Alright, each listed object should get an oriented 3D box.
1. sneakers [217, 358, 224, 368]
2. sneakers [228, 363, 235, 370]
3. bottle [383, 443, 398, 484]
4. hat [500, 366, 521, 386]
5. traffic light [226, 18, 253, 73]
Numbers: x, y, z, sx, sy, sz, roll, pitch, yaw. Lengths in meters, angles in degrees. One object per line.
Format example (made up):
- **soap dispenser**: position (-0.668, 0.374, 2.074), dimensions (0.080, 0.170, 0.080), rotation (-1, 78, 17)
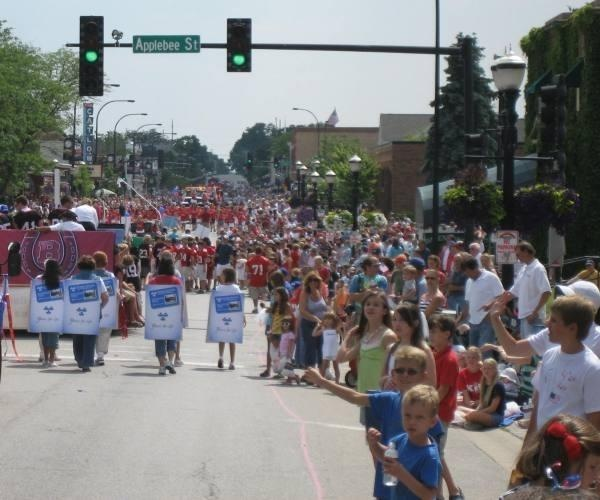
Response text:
- **sneakers**: position (-1.402, 2.029, 22.891), dimensions (0.137, 0.194, 0.100), rotation (4, 17, 6)
- **sneakers**: position (-1.185, 2.104, 22.760), dimensions (0.093, 0.159, 0.159), rotation (-3, 8, -23)
- **bottle**: position (1.003, 2.383, 14.114), dimensions (0.159, 0.539, 0.380), rotation (0, 7, 4)
- **hat**: position (3.304, 1.993, 20.212), dimensions (0.309, 0.406, 0.220), rotation (2, 5, 23)
- **traffic light**: position (-1.195, -4.094, 25.631), dimensions (0.515, 1.039, 0.297), rotation (-1, 7, -4)
